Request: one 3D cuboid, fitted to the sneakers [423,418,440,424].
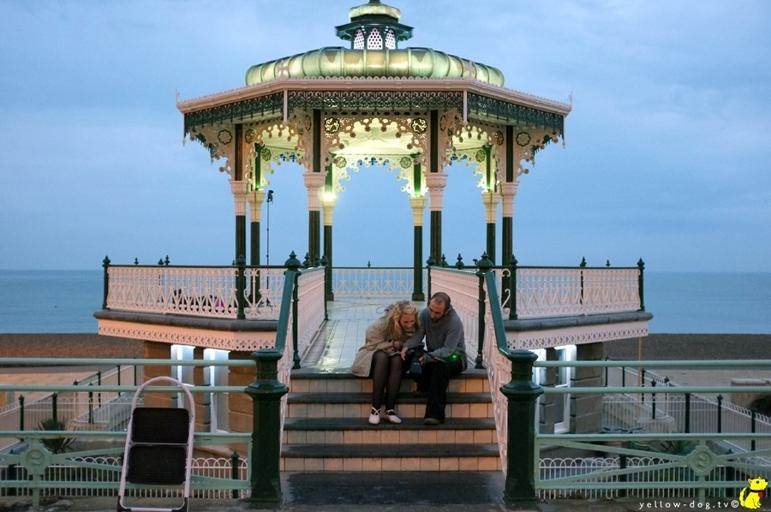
[{"bbox_3d":[0.989,3.599,28.578,0.259,0.107,0.135,9,-9,-33],"label":"sneakers"}]

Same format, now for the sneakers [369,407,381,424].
[{"bbox_3d":[-0.236,3.501,28.695,0.276,0.370,0.204,0,-4,2],"label":"sneakers"}]
